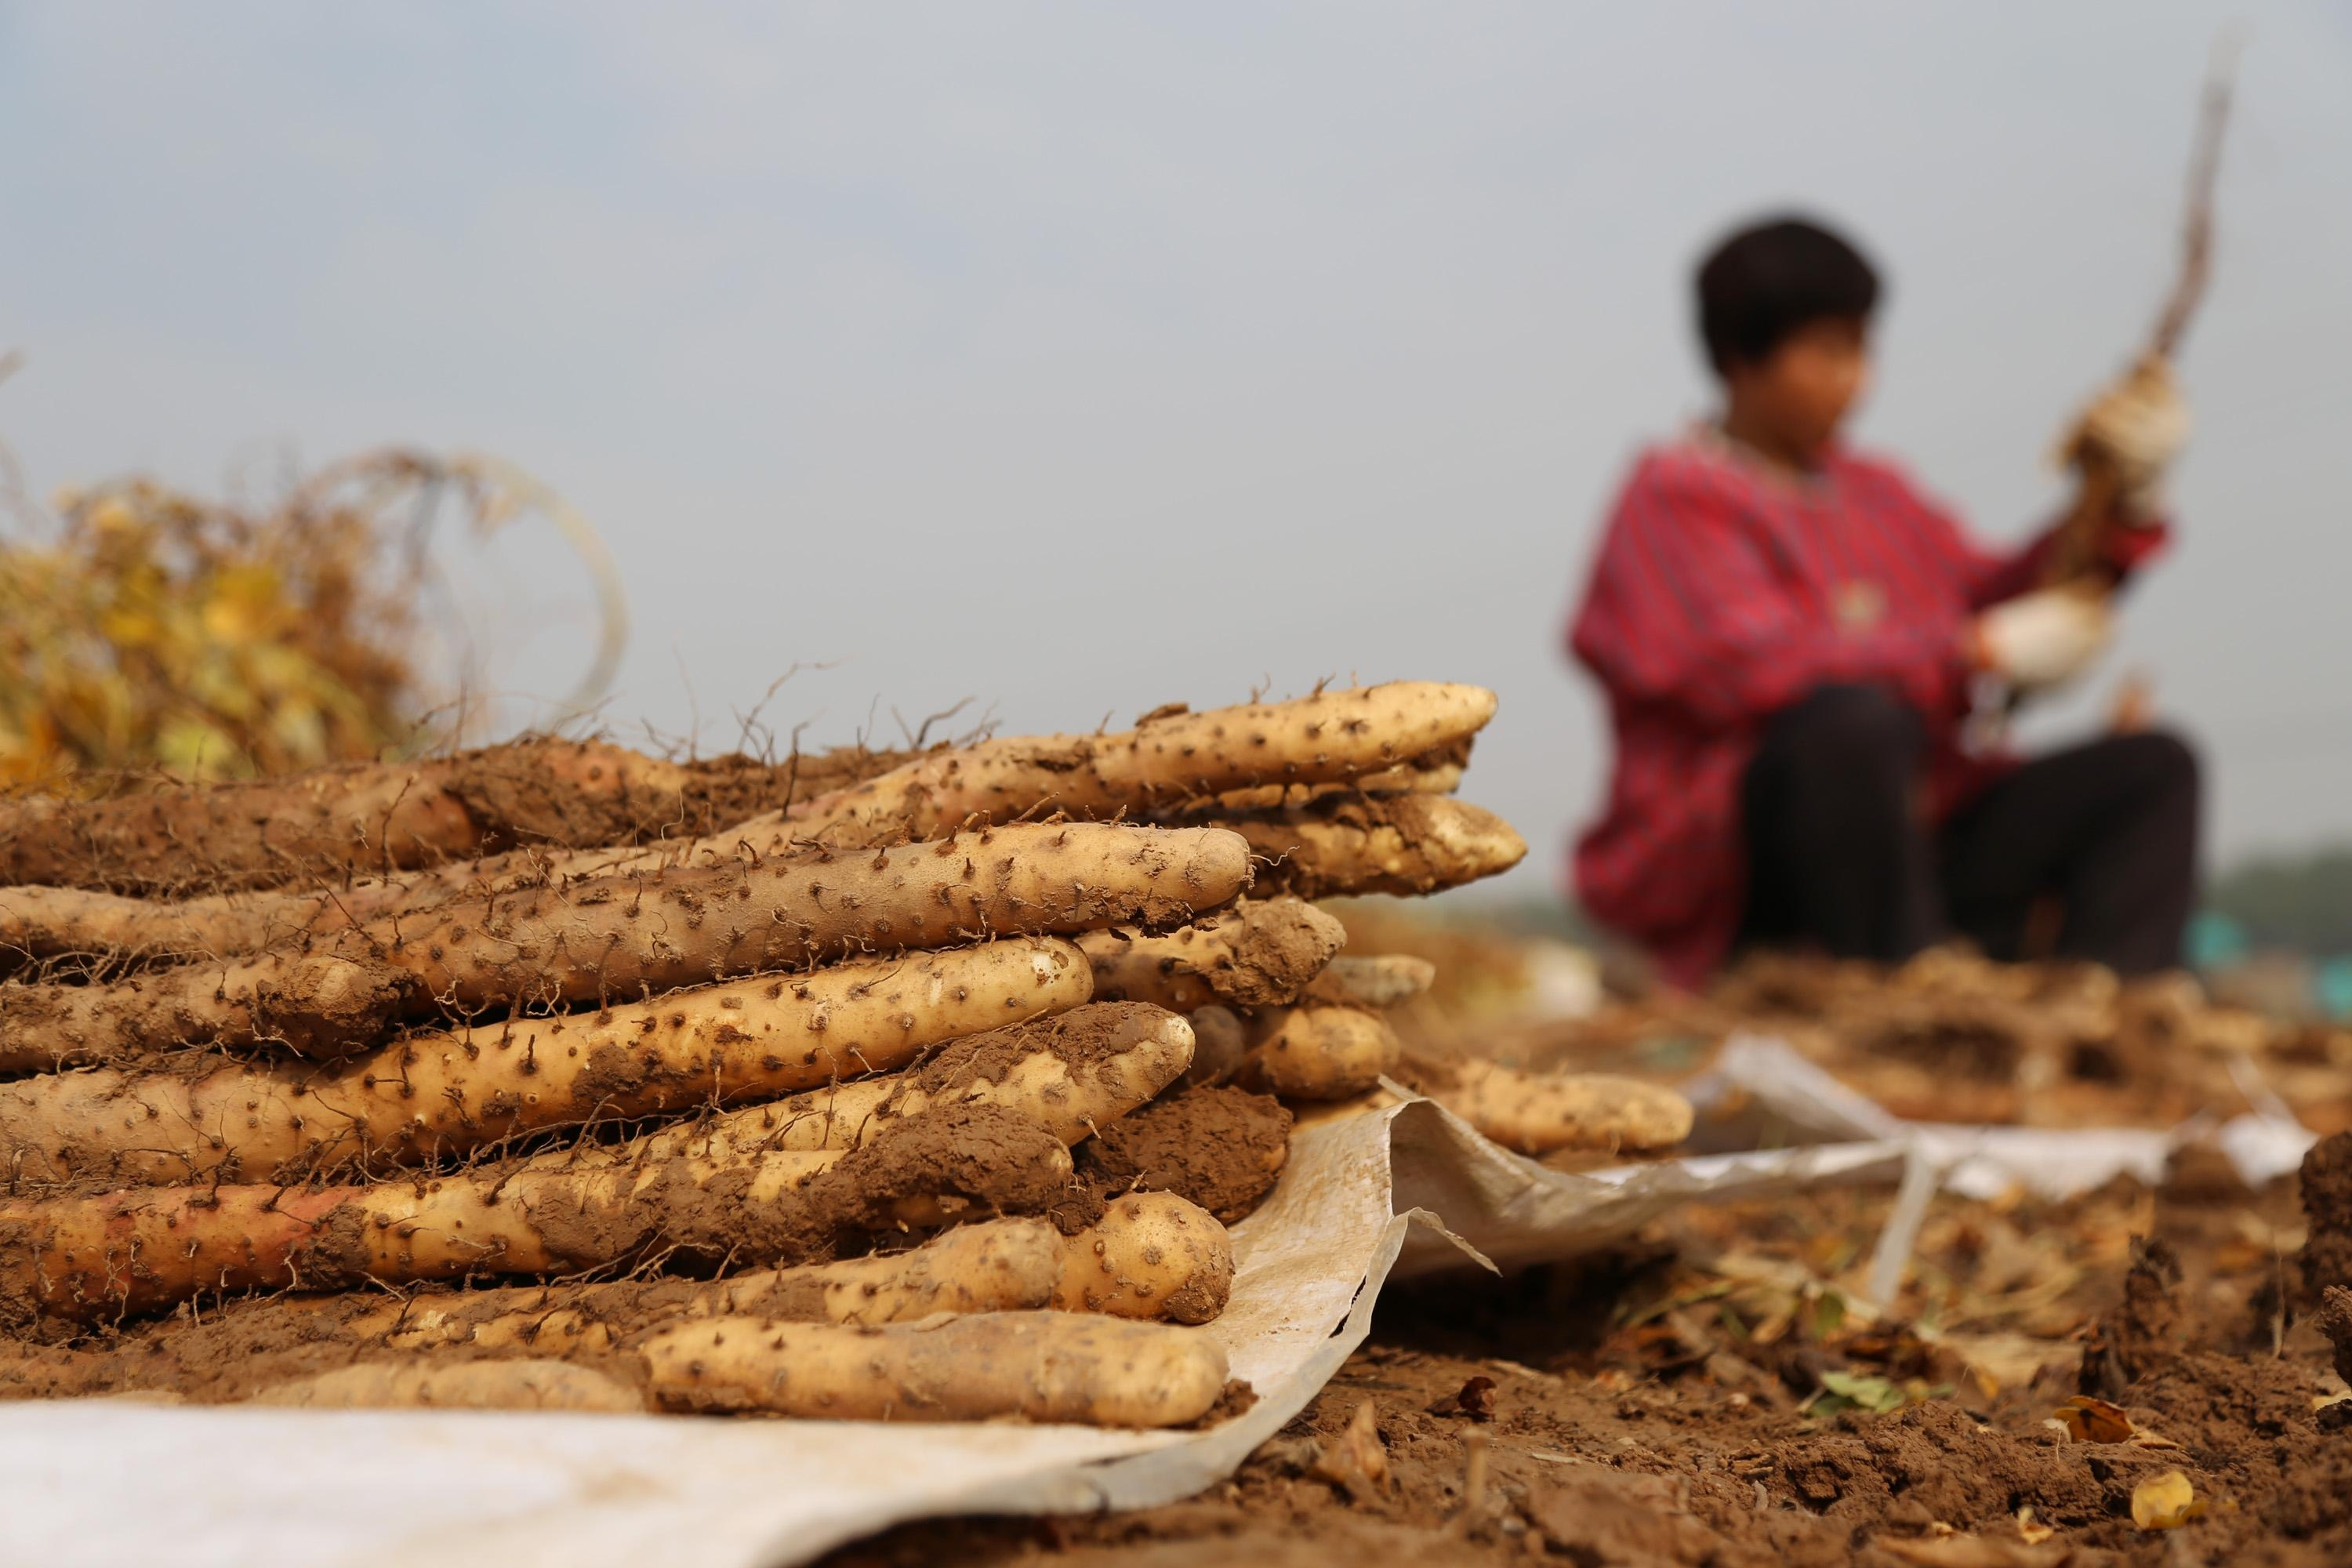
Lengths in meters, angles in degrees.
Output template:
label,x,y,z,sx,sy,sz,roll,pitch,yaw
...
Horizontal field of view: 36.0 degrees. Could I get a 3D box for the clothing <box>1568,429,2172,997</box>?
label,x,y,z,sx,sy,sz,roll,pitch,yaw
clothing,2.349,-0.198,10.184,1.798,1.591,1.401,-11,-14,42
